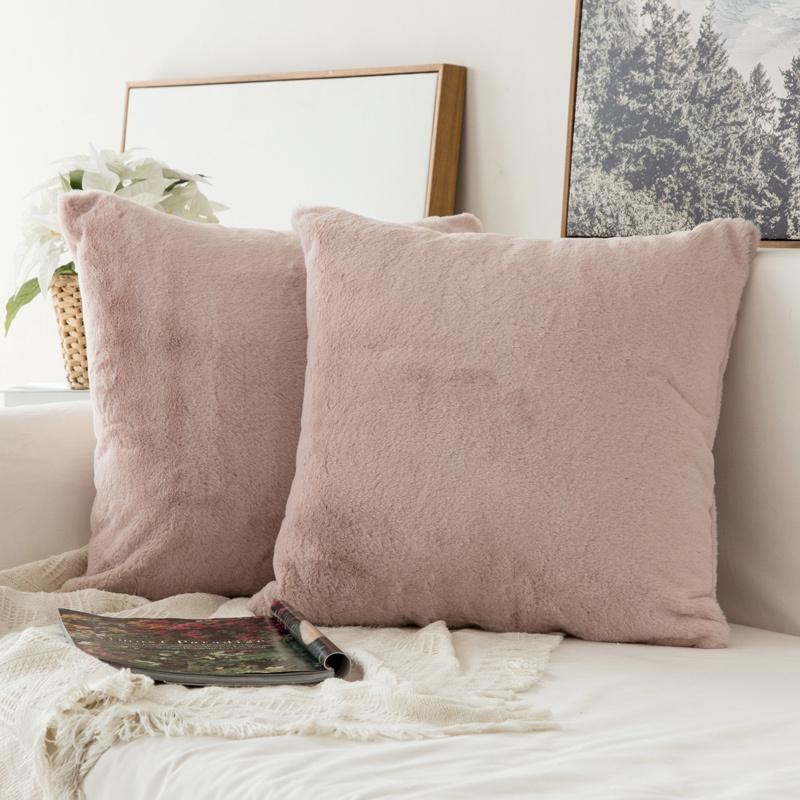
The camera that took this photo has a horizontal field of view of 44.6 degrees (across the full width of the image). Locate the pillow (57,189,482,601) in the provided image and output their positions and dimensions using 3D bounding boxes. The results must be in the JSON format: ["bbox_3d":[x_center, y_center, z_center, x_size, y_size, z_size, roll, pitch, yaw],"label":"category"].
[{"bbox_3d":[-0.159,0.010,1.168,0.733,0.485,0.227,1,-2,-18],"label":"pillow"}]

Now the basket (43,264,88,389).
[{"bbox_3d":[-0.647,-0.139,1.946,0.088,0.200,0.199,0,0,0],"label":"basket"}]

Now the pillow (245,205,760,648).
[{"bbox_3d":[0.125,0.048,1.094,0.682,0.431,0.216,3,-10,10],"label":"pillow"}]
